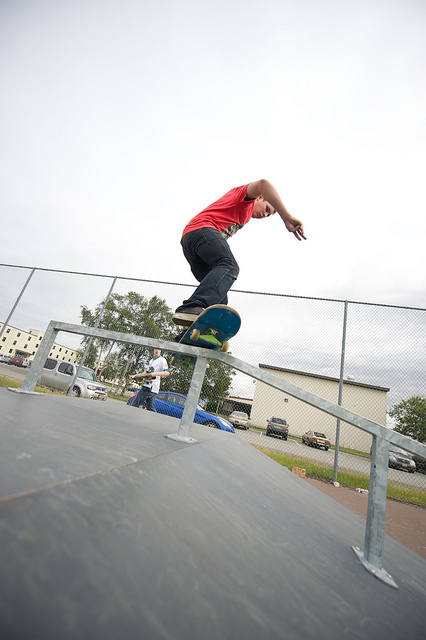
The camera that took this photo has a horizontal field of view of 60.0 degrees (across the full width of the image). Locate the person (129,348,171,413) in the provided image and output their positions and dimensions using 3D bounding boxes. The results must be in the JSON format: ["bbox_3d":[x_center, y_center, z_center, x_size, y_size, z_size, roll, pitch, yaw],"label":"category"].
[{"bbox_3d":[-0.863,0.780,4.990,0.456,0.833,0.809,18,-13,-6],"label":"person"}]

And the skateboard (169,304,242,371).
[{"bbox_3d":[-0.037,0.093,1.757,0.191,0.093,0.541,18,-36,-10],"label":"skateboard"}]

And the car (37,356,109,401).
[{"bbox_3d":[-3.239,1.381,8.609,1.116,0.639,1.927,23,-15,-33],"label":"car"}]

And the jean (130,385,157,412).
[{"bbox_3d":[-0.904,1.049,5.046,0.363,0.308,0.301,23,-14,-32],"label":"jean"}]
